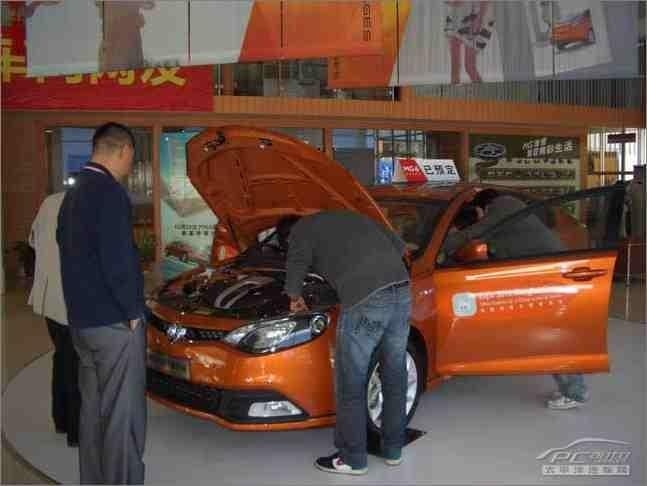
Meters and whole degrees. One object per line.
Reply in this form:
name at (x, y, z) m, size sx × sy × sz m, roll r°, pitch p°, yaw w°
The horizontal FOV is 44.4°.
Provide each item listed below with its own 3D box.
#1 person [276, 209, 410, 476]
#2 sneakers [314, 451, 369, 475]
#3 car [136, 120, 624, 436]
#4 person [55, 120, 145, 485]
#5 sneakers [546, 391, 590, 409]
person at (0.221, 0.808, 6.498) m, size 0.953 × 2.089 × 0.502 m, roll 1°, pitch 12°, yaw 7°
sneakers at (0.150, 1.828, 6.505) m, size 0.420 × 0.212 × 0.169 m, roll 4°, pitch -2°, yaw 14°
car at (0.468, 0.547, 6.938) m, size 3.063 × 1.609 × 2.909 m, roll 0°, pitch 1°, yaw -30°
person at (-1.716, 0.518, 6.208) m, size 0.598 × 2.797 × 0.731 m, roll -4°, pitch 12°, yaw -20°
sneakers at (2.279, 1.522, 7.532) m, size 0.219 × 0.095 × 0.188 m, roll 0°, pitch -1°, yaw -11°
